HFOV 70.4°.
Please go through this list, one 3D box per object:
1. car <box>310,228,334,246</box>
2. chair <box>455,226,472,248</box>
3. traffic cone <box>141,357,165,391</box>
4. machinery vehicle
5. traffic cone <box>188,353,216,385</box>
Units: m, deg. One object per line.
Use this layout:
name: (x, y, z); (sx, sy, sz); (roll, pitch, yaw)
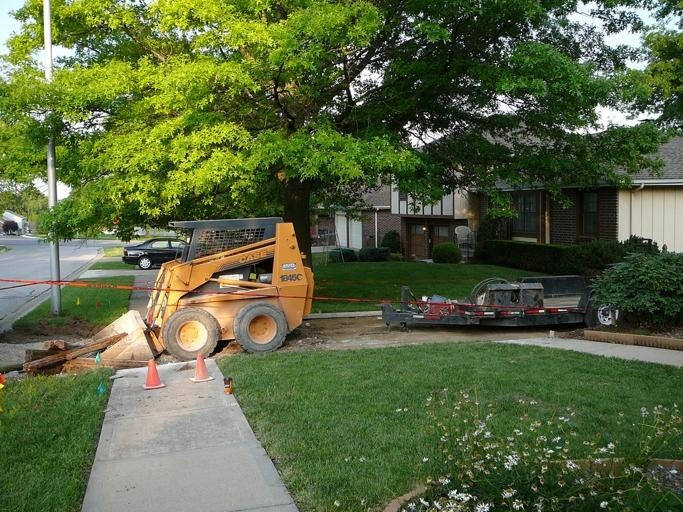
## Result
car: (-1.847, -1.820, 48.091); (3.188, 2.243, 1.713); (-2, 7, 1)
chair: (7.974, -1.188, 31.853); (1.108, 1.401, 2.154); (-1, 4, 14)
traffic cone: (-3.162, 1.915, 7.906); (0.422, 0.542, 0.429); (0, -5, -31)
machinery vehicle: (-3.065, 0.541, 11.736); (4.668, 2.803, 3.254); (-8, 15, -18)
traffic cone: (-2.369, 1.922, 8.277); (0.434, 0.496, 0.415); (-1, -4, -18)
